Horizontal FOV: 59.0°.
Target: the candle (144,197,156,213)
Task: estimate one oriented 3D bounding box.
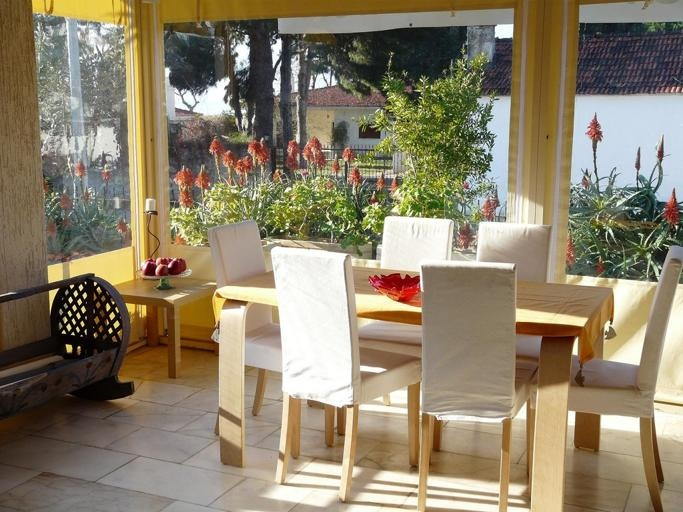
[{"bbox_3d":[-1.529,-0.396,4.787,0.068,0.111,0.124,-3,14,-11],"label":"candle"}]

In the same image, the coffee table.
[{"bbox_3d":[-1.414,0.526,4.927,0.804,0.657,0.696,5,14,21],"label":"coffee table"}]

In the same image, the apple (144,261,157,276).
[{"bbox_3d":[-1.477,0.090,4.612,0.104,0.105,0.098,-3,14,-14],"label":"apple"}]

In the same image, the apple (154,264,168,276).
[{"bbox_3d":[-1.377,0.101,4.575,0.083,0.086,0.077,1,-10,-32],"label":"apple"}]

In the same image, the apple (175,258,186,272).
[{"bbox_3d":[-1.264,0.069,4.684,0.079,0.086,0.080,41,9,17],"label":"apple"}]

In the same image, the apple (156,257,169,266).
[{"bbox_3d":[-1.408,0.036,4.679,0.091,0.048,0.095,7,9,26],"label":"apple"}]

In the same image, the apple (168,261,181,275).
[{"bbox_3d":[-1.285,0.081,4.626,0.066,0.101,0.118,7,15,28],"label":"apple"}]

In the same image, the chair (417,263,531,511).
[{"bbox_3d":[0.695,0.642,3.001,0.644,1.332,0.417,-1,14,-2],"label":"chair"}]
